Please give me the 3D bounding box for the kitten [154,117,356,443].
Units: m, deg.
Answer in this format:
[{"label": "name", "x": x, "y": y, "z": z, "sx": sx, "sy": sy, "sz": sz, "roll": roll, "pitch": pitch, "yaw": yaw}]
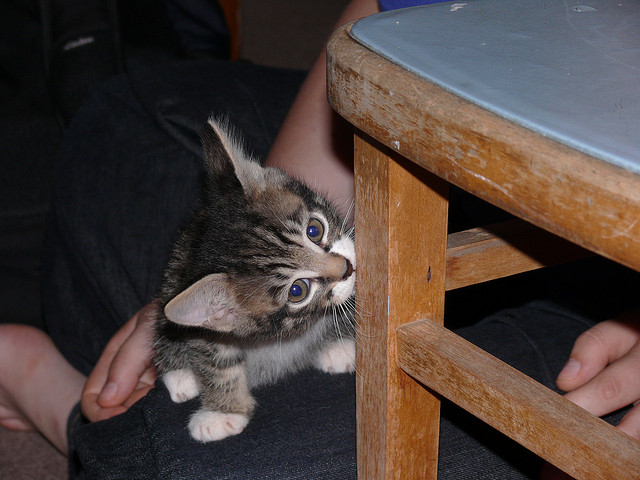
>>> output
[{"label": "kitten", "x": -0.155, "y": 0.124, "z": 1.598, "sx": 0.454, "sy": 0.623, "sz": 0.475, "roll": 4, "pitch": 50, "yaw": 32}]
